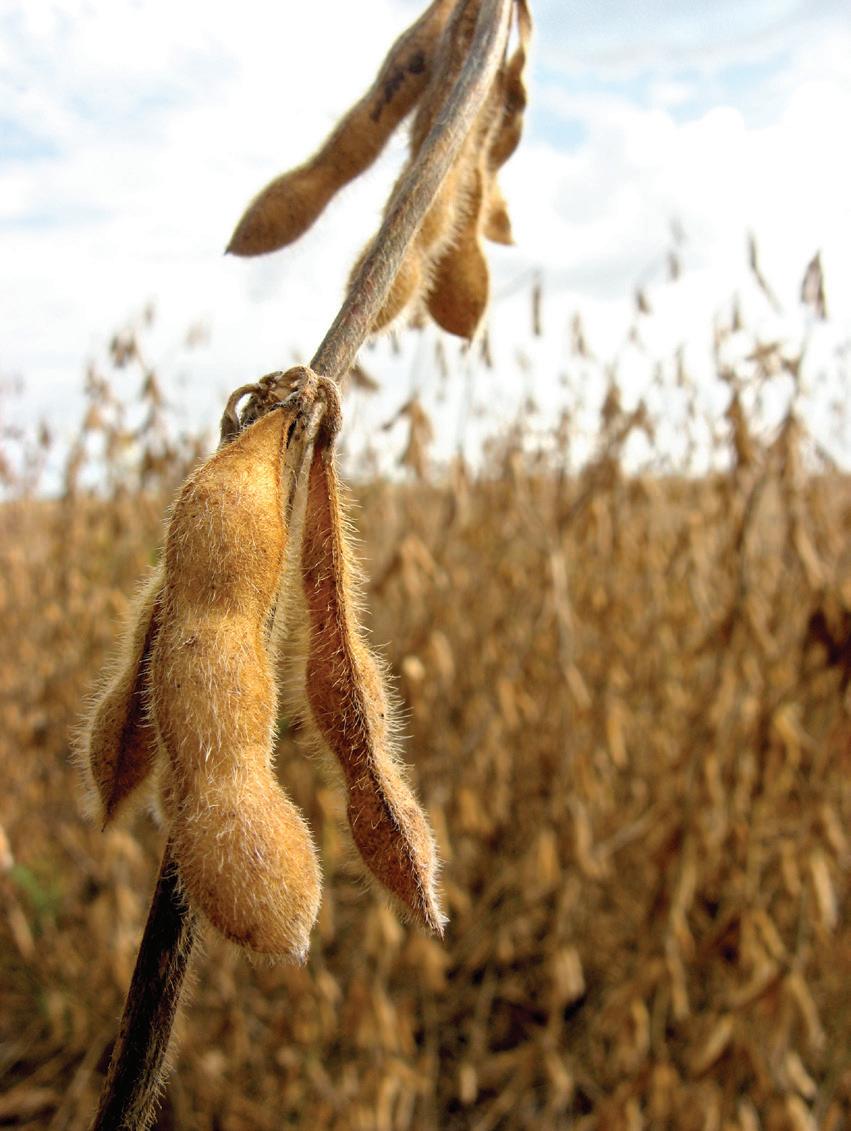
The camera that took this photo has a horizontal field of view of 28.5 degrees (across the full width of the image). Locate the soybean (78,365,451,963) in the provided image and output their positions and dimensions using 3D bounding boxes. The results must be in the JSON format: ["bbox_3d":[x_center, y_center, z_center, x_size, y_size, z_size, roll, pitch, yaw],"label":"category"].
[{"bbox_3d":[-0.161,0.084,1.698,0.359,0.513,0.363,-2,31,-14],"label":"soybean"}]
